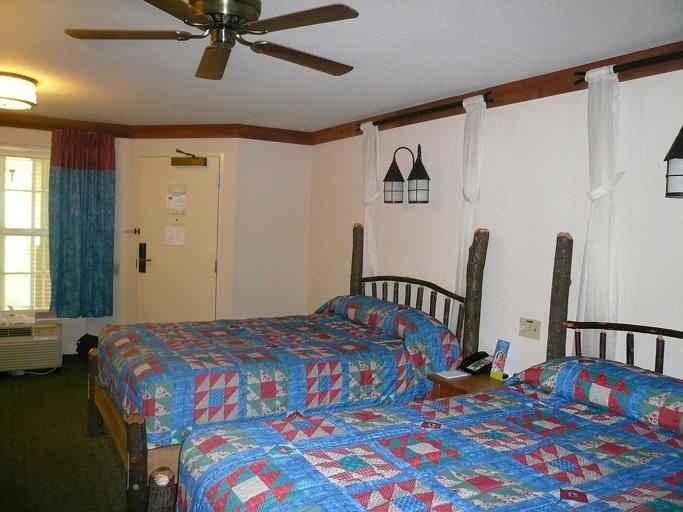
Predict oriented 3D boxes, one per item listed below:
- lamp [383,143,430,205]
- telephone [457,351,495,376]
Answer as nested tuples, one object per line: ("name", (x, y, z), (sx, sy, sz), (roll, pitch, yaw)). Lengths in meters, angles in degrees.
("lamp", (0.612, -0.757, 4.896), (0.248, 0.627, 0.606), (-3, 4, -41))
("telephone", (1.069, 0.844, 4.152), (0.184, 0.074, 0.184), (-14, 15, -38))
